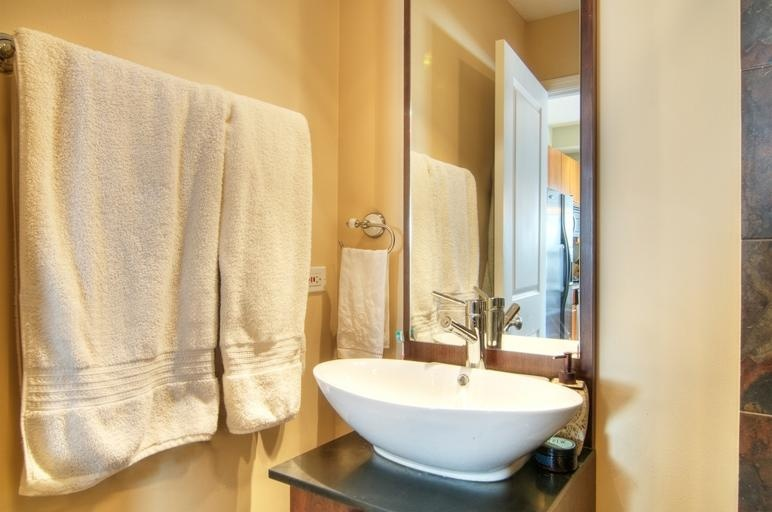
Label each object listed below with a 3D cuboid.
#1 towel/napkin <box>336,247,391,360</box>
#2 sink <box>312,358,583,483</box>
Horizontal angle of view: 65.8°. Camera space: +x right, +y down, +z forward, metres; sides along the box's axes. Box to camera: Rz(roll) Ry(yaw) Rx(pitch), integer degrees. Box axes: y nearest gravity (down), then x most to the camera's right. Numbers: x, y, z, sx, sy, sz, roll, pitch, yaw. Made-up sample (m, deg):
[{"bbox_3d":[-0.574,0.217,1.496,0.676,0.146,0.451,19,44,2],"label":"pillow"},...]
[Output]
[{"bbox_3d":[-0.088,0.171,2.210,0.205,0.301,0.043,-3,-1,27],"label":"towel/napkin"},{"bbox_3d":[0.162,0.486,1.772,0.786,0.278,0.407,-3,-2,30],"label":"sink"}]
